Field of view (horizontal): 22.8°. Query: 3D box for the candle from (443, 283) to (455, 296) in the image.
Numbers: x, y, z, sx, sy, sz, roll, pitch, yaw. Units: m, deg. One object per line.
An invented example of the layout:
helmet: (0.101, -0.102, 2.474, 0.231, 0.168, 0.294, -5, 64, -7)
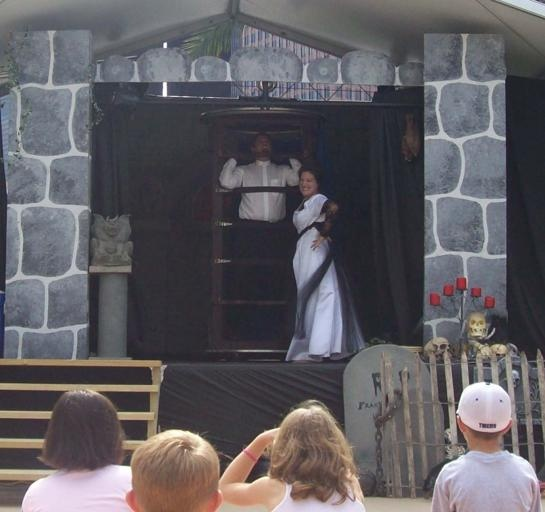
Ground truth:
candle: (1.429, 0.278, 11.219, 0.089, 0.092, 0.084, -1, -6, 2)

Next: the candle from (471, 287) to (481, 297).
candle: (1.646, 0.288, 11.135, 0.071, 0.053, 0.070, 1, -5, -5)

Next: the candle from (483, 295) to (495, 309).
candle: (1.752, 0.377, 11.162, 0.093, 0.101, 0.091, 0, 1, -2)

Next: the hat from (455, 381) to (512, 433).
hat: (1.229, 0.887, 7.954, 0.242, 0.196, 0.328, 2, 5, 9)

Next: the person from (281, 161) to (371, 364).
person: (0.455, 0.051, 11.789, 0.649, 1.696, 0.509, 0, -3, 10)

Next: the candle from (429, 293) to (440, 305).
candle: (1.316, 0.353, 11.227, 0.093, 0.095, 0.087, 0, -6, 2)

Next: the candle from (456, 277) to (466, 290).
candle: (1.532, 0.225, 11.175, 0.082, 0.111, 0.087, 0, -3, 0)

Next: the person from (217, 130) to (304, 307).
person: (-0.097, -0.415, 12.553, 1.245, 1.287, 0.681, 1, -15, -2)
